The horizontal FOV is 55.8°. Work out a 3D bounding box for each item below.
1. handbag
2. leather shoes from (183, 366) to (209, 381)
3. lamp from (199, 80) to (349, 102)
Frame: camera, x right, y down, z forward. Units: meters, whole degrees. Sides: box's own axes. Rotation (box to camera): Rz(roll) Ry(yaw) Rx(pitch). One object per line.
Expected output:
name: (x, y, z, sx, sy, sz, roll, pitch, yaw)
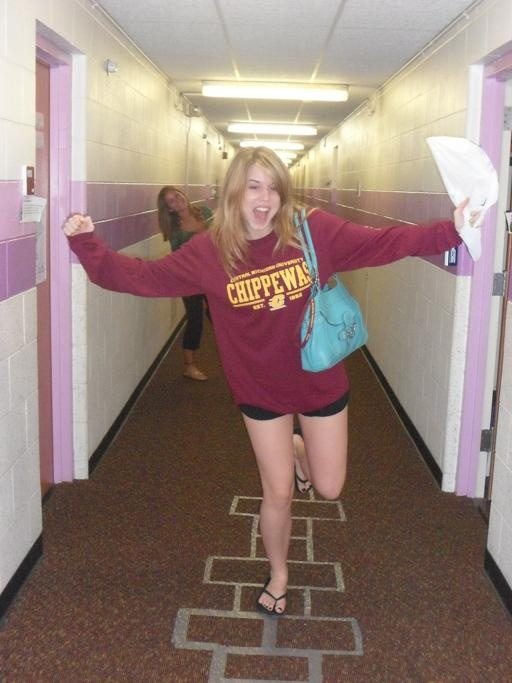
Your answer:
handbag: (0.214, -0.137, 1.300, 0.256, 0.424, 0.098, 0, 2, -34)
leather shoes: (-0.607, 0.325, 4.858, 0.269, 0.133, 0.105, 8, 18, 40)
lamp: (0.179, -2.414, 4.638, 1.400, 0.126, 0.492, 1, 3, 4)
